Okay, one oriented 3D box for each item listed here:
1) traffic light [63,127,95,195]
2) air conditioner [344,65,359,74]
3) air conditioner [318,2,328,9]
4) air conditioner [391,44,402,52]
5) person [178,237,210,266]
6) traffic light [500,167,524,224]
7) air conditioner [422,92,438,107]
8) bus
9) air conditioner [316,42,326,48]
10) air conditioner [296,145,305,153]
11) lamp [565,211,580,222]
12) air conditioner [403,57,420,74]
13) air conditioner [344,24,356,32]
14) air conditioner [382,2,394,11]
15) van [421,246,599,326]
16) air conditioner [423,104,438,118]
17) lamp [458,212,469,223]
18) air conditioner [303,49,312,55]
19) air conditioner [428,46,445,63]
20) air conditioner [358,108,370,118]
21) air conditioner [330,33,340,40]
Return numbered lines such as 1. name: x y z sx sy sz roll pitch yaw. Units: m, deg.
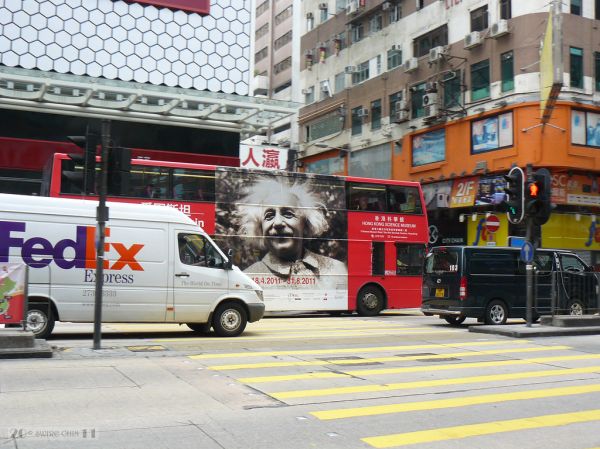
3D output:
1. traffic light: -4.750 -1.405 14.660 0.643 1.444 0.793 1 2 -18
2. air conditioner: 3.390 -10.311 44.910 0.609 0.578 0.675 0 2 -23
3. air conditioner: 1.738 -15.990 49.673 0.258 0.559 1.062 0 2 -33
4. air conditioner: 5.769 -10.448 40.165 0.405 0.407 0.678 4 -6 -35
5. person: -2.723 0.662 17.093 0.907 0.740 0.569 7 -1 -26
6. traffic light: 5.769 -0.794 18.209 0.587 1.489 0.664 2 2 16
7. air conditioner: 7.084 -6.690 36.599 0.707 0.770 1.142 1 -2 -3
8. bus: -2.274 0.733 23.634 14.242 4.715 3.716 3 -4 -31
9. air conditioner: 1.585 -13.052 49.235 0.591 0.547 0.523 1 2 -5
10. air conditioner: 0.096 -5.843 51.377 0.722 0.583 0.628 -1 -7 -12
11. lamp: 13.342 -0.432 33.243 0.540 0.453 0.899 2 3 6
12. air conditioner: 6.397 -9.052 38.438 0.477 0.955 1.280 4 -9 -26
13. air conditioner: 3.386 -13.388 45.878 0.391 0.411 0.664 -2 0 -13
14. air conditioner: 5.410 -13.404 41.599 0.455 0.451 0.727 -2 -2 -20
15. van: 6.712 1.923 20.901 5.626 2.560 2.082 1 2 -4
16. air conditioner: 7.073 -6.064 36.387 0.618 0.690 1.023 0 -3 -4
17. lamp: 8.763 -0.392 36.063 0.418 0.474 0.462 1 2 1
18. air conditioner: 0.648 -12.866 50.547 0.489 0.255 0.440 -1 5 0
19. air conditioner: 7.434 -9.223 36.305 0.591 0.845 1.311 1 2 -15
20. air conditioner: 4.076 -6.947 42.886 0.522 0.504 0.857 2 -5 -26
21. air conditioner: 2.473 -13.260 47.624 0.560 0.380 0.574 -1 -5 -40
